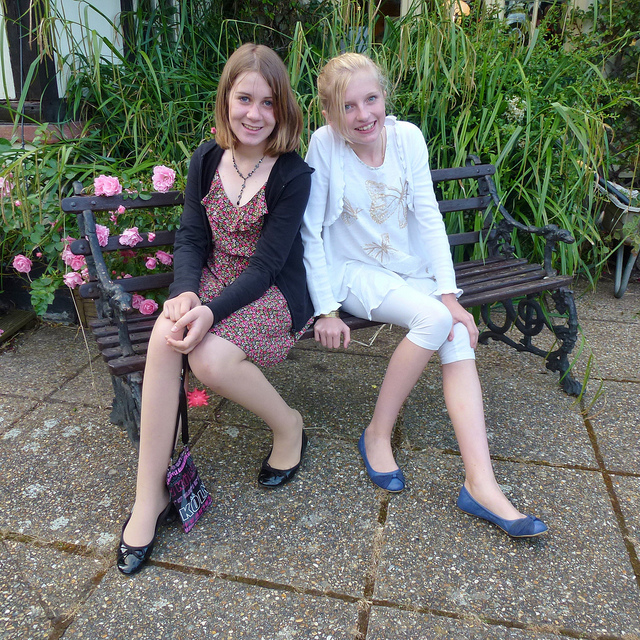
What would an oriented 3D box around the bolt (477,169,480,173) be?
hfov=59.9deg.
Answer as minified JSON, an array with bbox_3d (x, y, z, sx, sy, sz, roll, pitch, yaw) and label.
[{"bbox_3d":[0.751,-0.705,2.630,0.006,0.013,0.006,1,28,0],"label":"bolt"}]

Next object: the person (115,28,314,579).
[{"bbox_3d":[-0.288,-0.087,1.694,0.536,1.342,0.853,1,28,0],"label":"person"}]

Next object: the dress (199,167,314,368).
[{"bbox_3d":[-0.289,-0.153,1.787,0.394,0.566,0.414,18,32,29],"label":"dress"}]

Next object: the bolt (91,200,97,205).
[{"bbox_3d":[-0.829,-0.430,2.033,0.021,0.020,0.005,-2,4,-34],"label":"bolt"}]

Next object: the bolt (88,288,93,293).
[{"bbox_3d":[-0.832,-0.106,2.015,0.016,0.016,0.005,-9,29,-18],"label":"bolt"}]

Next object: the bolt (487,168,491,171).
[{"bbox_3d":[0.799,-0.708,2.621,0.007,0.008,0.011,-1,-6,-38],"label":"bolt"}]

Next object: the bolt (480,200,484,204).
[{"bbox_3d":[0.778,-0.566,2.662,0.022,0.016,0.005,-2,4,-12],"label":"bolt"}]

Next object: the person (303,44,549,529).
[{"bbox_3d":[0.329,-0.169,1.946,0.764,1.359,1.076,0,27,-2],"label":"person"}]

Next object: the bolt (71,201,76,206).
[{"bbox_3d":[-0.878,-0.414,1.979,0.004,0.016,0.017,16,31,27],"label":"bolt"}]

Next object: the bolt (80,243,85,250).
[{"bbox_3d":[-0.854,-0.263,1.998,0.016,0.017,0.007,-7,28,-14],"label":"bolt"}]
